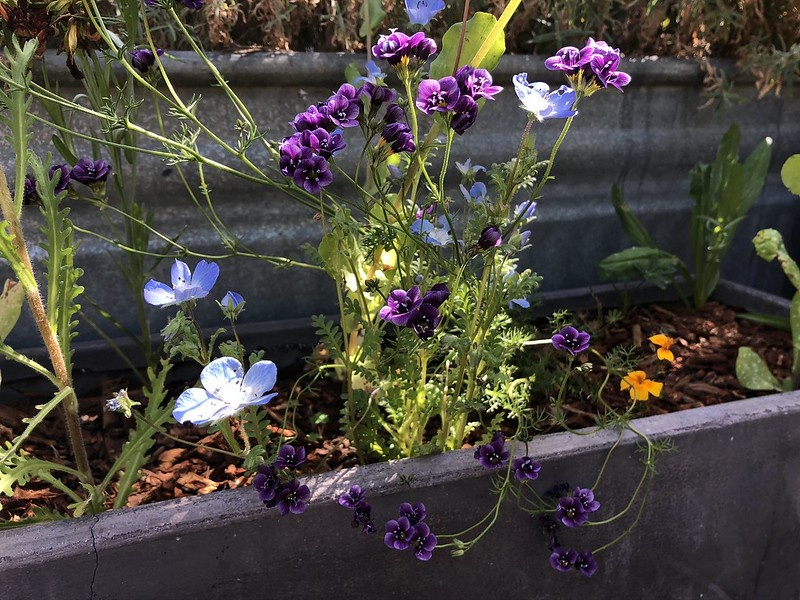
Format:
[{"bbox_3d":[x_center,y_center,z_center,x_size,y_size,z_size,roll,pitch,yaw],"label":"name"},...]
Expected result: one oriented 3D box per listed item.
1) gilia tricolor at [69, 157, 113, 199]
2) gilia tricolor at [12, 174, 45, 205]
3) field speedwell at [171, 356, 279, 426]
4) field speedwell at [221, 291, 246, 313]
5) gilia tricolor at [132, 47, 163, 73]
[{"bbox_3d":[-0.641,-0.240,1.590,0.083,0.076,0.080,-10,61,-48],"label":"gilia tricolor"},{"bbox_3d":[-0.766,-0.226,1.550,0.033,0.059,0.075,-17,28,-24],"label":"gilia tricolor"},{"bbox_3d":[-0.310,0.166,1.337,0.188,0.090,0.200,10,12,20],"label":"field speedwell"},{"bbox_3d":[-0.369,0.003,1.651,0.034,0.019,0.043,-17,59,24],"label":"field speedwell"},{"bbox_3d":[-0.548,-0.515,1.617,0.055,0.049,0.098,-14,28,-16],"label":"gilia tricolor"}]
